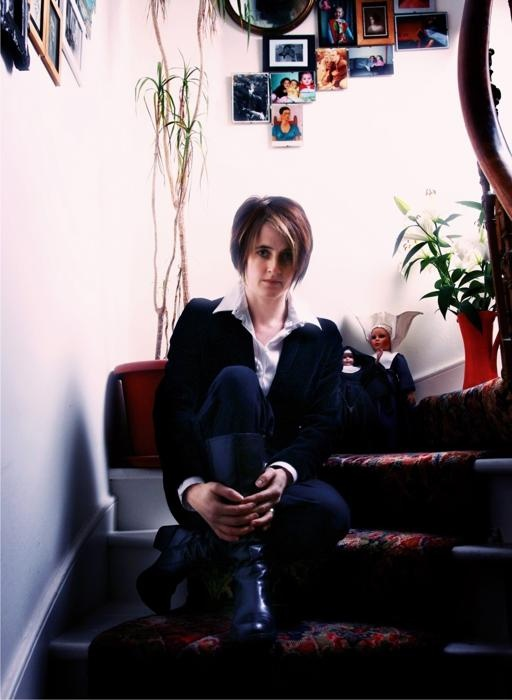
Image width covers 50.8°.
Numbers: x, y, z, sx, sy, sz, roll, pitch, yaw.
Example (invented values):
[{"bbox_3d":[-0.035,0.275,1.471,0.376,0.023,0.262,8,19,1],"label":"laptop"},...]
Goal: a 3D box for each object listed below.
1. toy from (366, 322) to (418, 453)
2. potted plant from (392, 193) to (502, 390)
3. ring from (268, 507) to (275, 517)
[{"bbox_3d":[0.346,0.102,1.448,0.144,0.155,0.394,-6,56,21],"label":"toy"},{"bbox_3d":[0.517,-0.180,1.492,0.273,0.504,0.303,1,12,15],"label":"potted plant"},{"bbox_3d":[0.028,0.295,0.985,0.004,0.018,0.023,3,13,20],"label":"ring"}]
